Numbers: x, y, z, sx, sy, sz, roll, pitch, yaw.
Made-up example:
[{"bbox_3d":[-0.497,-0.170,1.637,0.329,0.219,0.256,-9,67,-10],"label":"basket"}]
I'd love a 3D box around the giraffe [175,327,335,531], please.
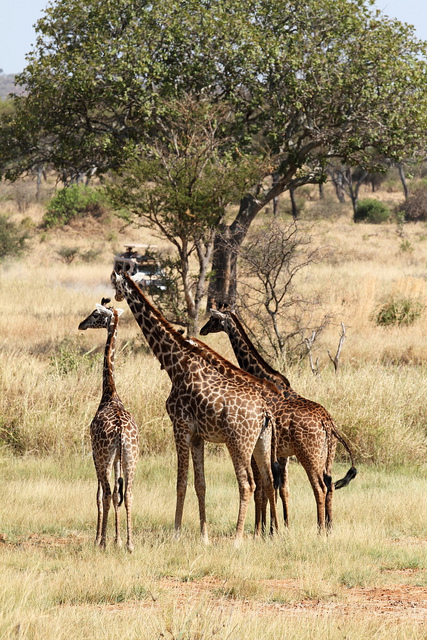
[{"bbox_3d":[-0.072,1.041,8.496,0.551,1.718,2.287,-1,3,-41],"label":"giraffe"}]

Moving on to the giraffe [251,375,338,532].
[{"bbox_3d":[0.749,1.207,7.810,0.656,1.218,0.374,8,8,29],"label":"giraffe"}]
